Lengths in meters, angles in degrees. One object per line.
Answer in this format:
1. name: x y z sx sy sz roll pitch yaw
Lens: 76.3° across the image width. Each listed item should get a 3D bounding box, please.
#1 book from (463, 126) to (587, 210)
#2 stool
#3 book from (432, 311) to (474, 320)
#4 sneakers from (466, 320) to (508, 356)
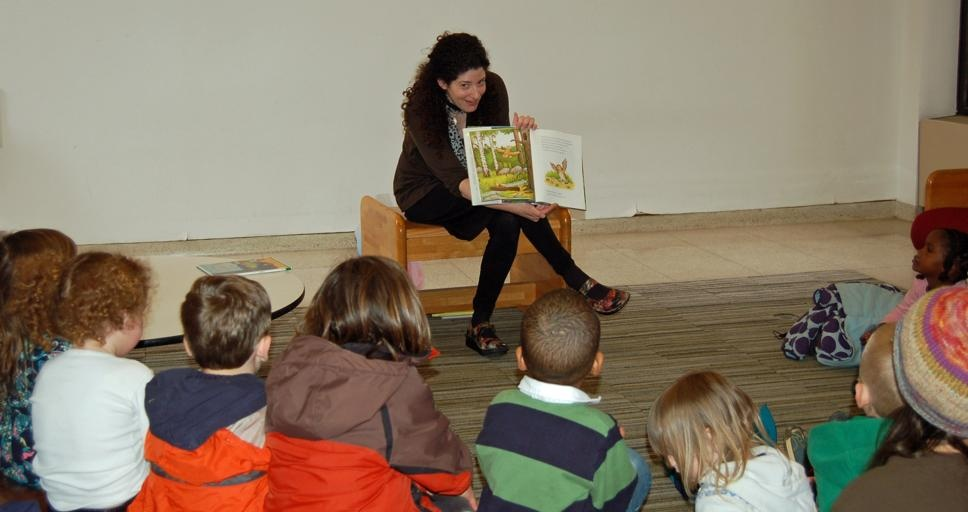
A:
1. book: 0.231 -0.515 3.627 0.688 0.493 0.204 -2 6 2
2. stool: -0.027 0.077 4.329 1.315 0.792 0.939 -4 0 8
3. book: -0.202 0.411 4.201 0.220 0.017 0.070 -5 31 -18
4. sneakers: 0.005 0.503 3.844 0.159 0.169 0.428 -4 7 -26
